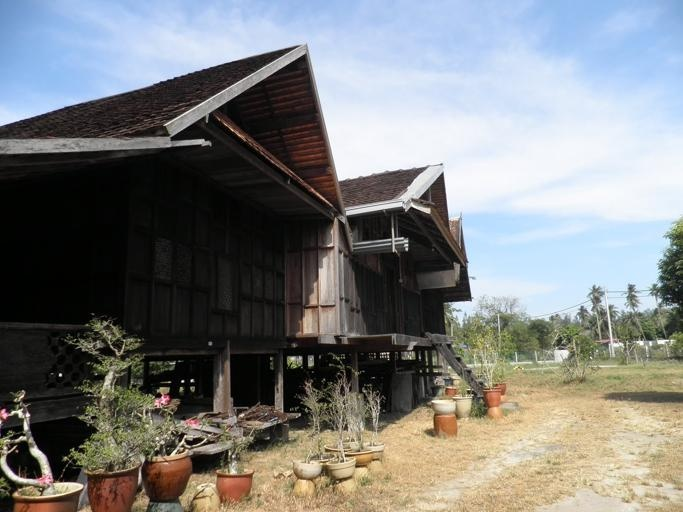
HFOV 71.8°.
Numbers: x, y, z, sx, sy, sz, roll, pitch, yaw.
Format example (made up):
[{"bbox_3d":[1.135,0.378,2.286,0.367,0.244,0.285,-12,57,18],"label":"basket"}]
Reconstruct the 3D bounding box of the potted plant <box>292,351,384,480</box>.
[{"bbox_3d":[-0.135,3.805,11.450,2.379,2.996,2.352,-6,-10,28],"label":"potted plant"}]
